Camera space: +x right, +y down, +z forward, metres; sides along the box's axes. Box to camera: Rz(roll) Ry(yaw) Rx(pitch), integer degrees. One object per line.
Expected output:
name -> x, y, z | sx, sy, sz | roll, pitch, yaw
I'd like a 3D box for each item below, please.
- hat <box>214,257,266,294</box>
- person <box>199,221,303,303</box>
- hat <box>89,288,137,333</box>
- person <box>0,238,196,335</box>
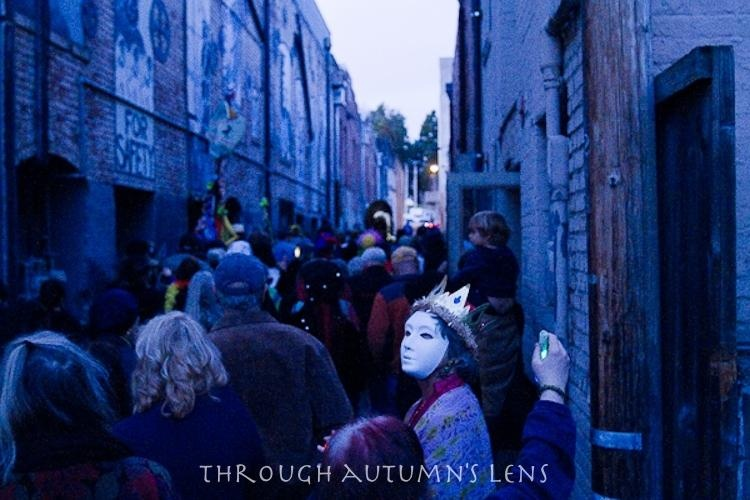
hat -> -1.029, 0.147, 5.693 | 0.413, 0.263, 0.623 | -1, 11, -13
person -> -1.179, 0.021, 8.139 | 0.543, 0.551, 0.963 | 0, 17, 7
hat -> -2.250, 0.482, 6.550 | 0.355, 0.445, 0.302 | 7, 7, 12
person -> -2.949, 0.376, 7.865 | 0.991, 1.027, 2.596 | 0, -4, 14
